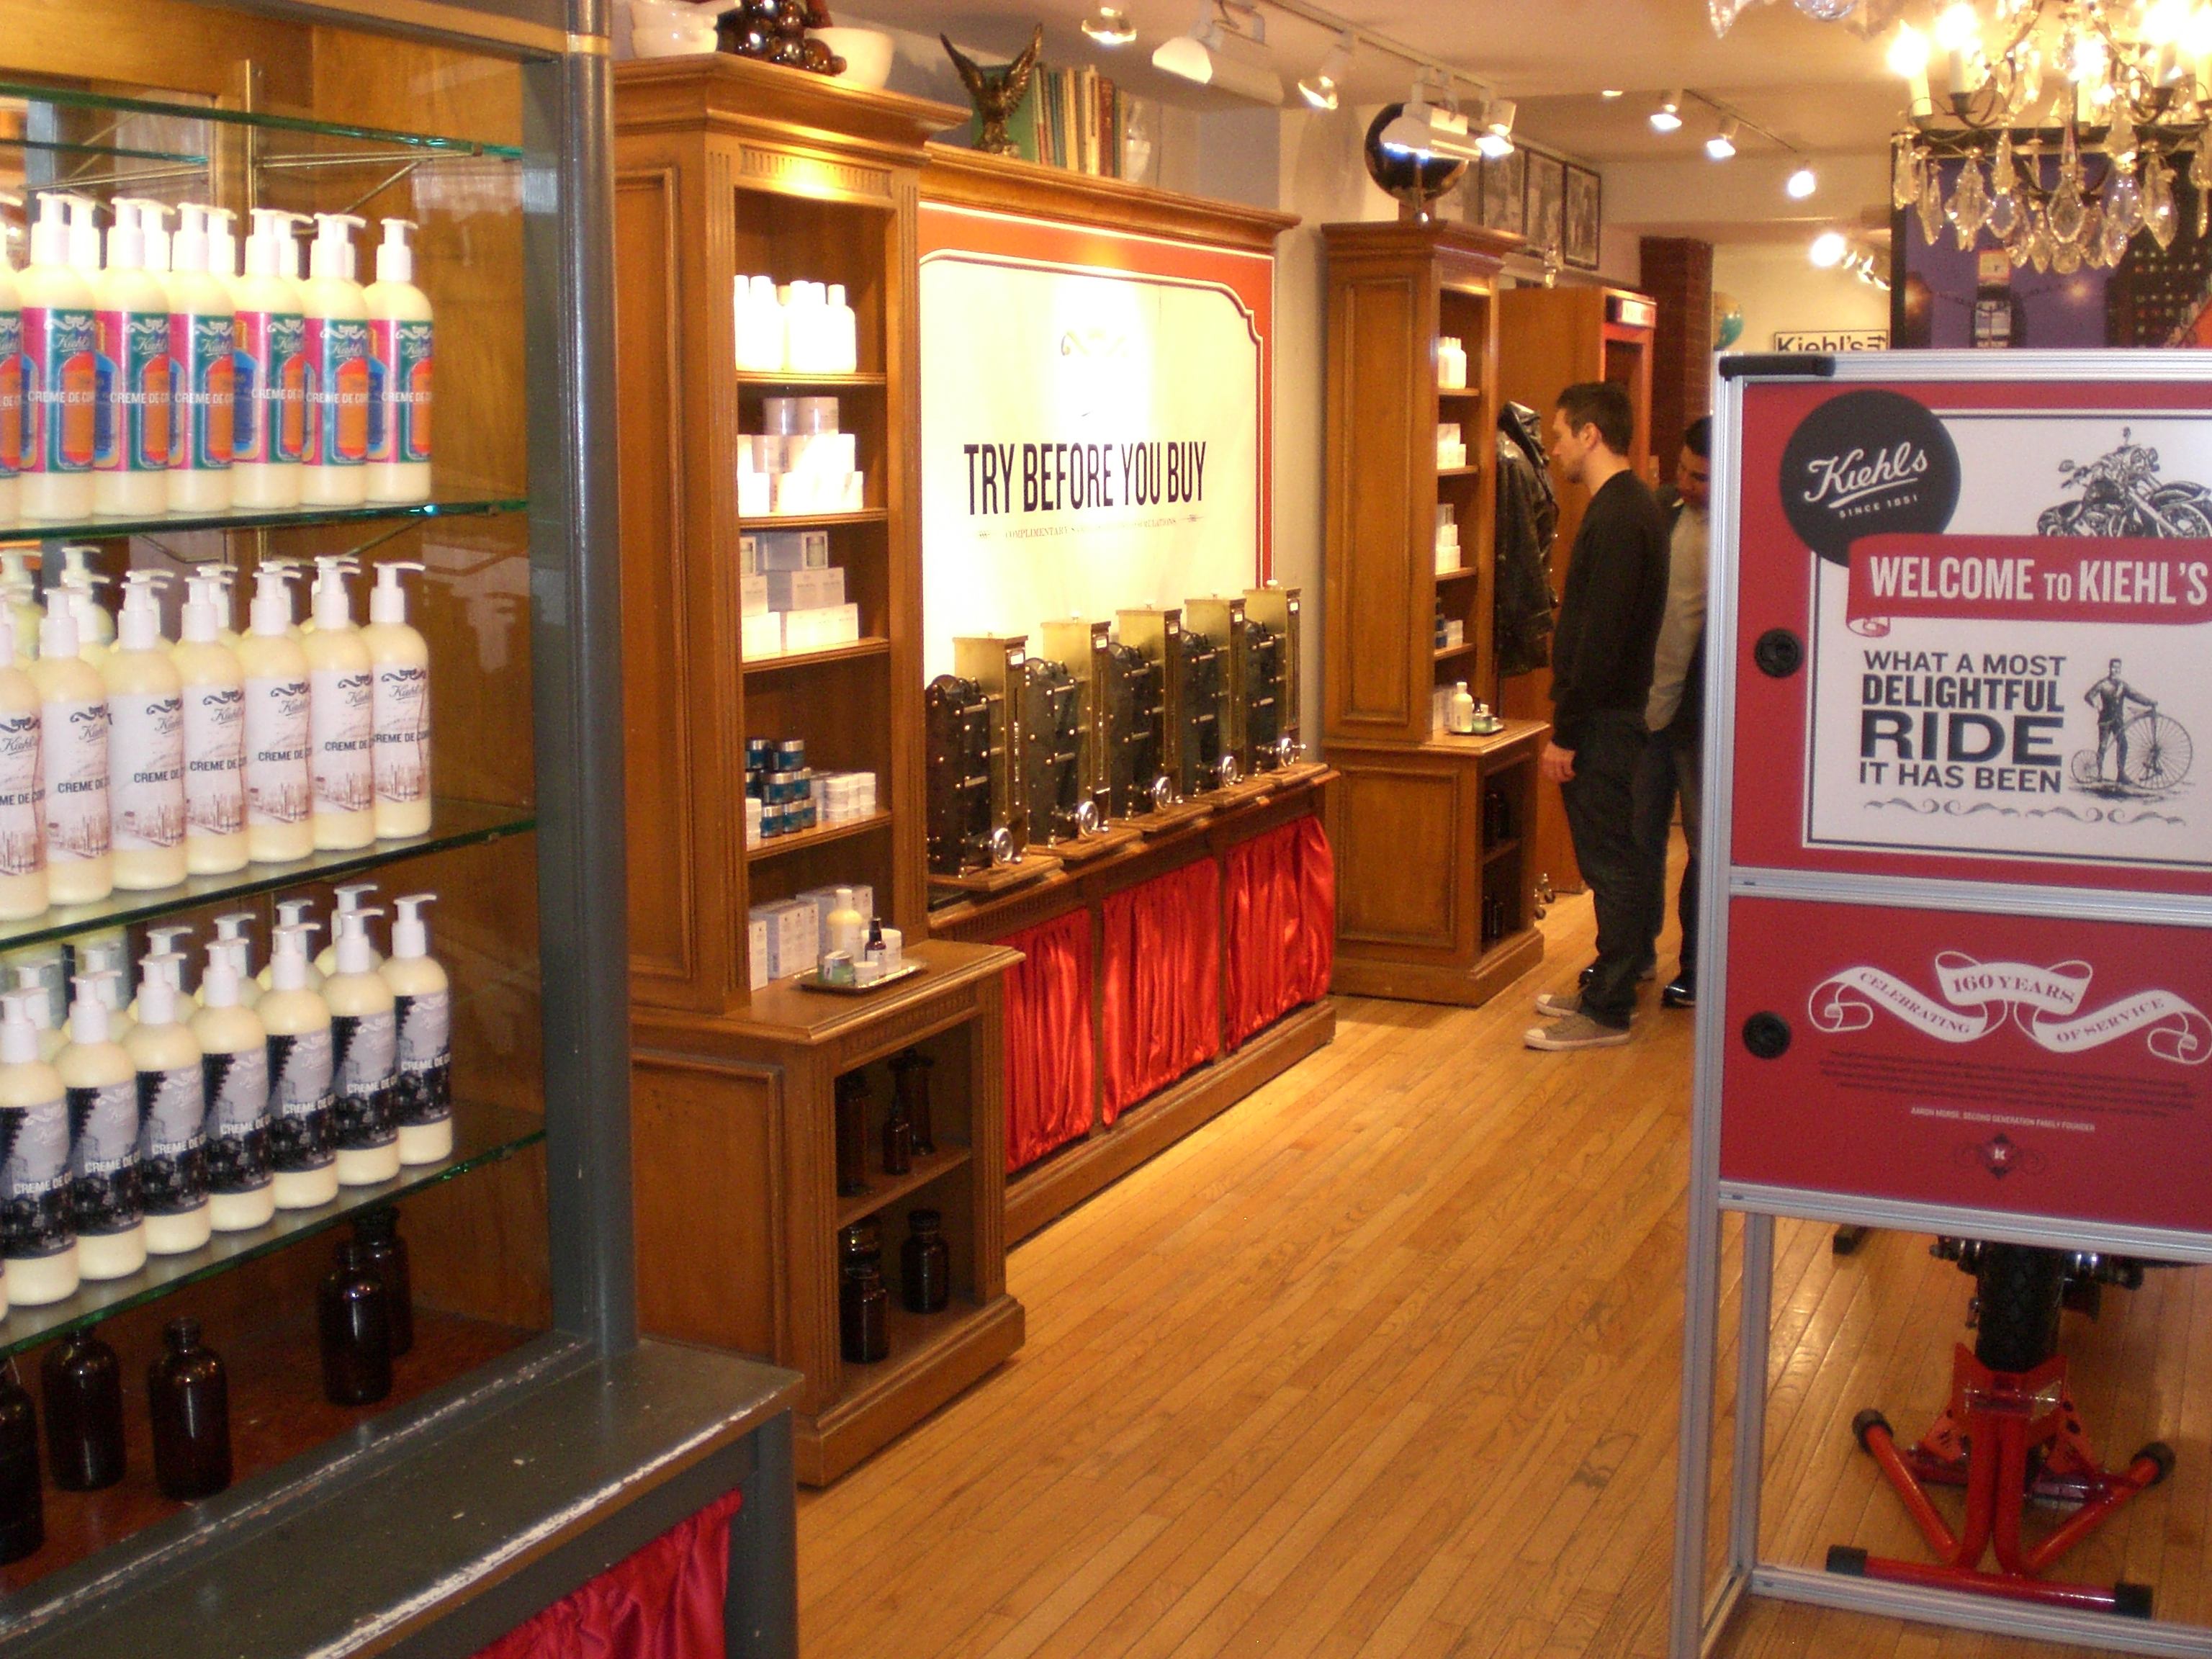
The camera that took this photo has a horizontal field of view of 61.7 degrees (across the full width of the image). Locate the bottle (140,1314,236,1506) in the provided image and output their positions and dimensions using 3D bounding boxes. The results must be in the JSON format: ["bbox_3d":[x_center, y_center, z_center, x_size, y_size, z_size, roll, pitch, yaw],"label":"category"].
[{"bbox_3d":[-1.059,0.663,2.122,0.085,0.173,0.102,-6,12,-29],"label":"bottle"}]

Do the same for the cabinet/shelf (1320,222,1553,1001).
[{"bbox_3d":[1.337,-0.869,7.547,0.748,3.010,0.974,7,12,36],"label":"cabinet/shelf"}]

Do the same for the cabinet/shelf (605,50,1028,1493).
[{"bbox_3d":[-0.696,-0.137,4.304,0.658,2.994,1.104,4,9,21],"label":"cabinet/shelf"}]

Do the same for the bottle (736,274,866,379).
[{"bbox_3d":[-0.698,-1.111,4.127,0.097,0.195,0.311,5,13,32],"label":"bottle"}]

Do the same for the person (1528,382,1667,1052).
[{"bbox_3d":[1.837,-0.407,6.834,0.444,2.389,0.543,2,10,17],"label":"person"}]

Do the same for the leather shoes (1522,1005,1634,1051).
[{"bbox_3d":[1.735,0.749,6.945,0.452,0.194,0.159,2,6,1],"label":"leather shoes"}]
